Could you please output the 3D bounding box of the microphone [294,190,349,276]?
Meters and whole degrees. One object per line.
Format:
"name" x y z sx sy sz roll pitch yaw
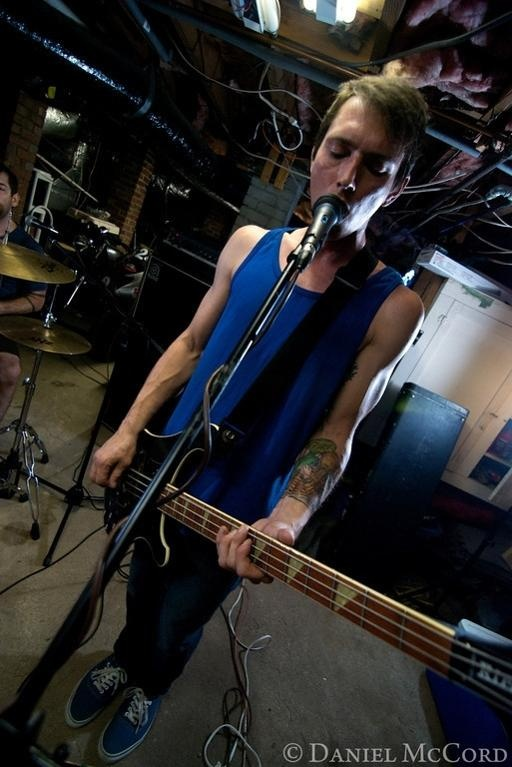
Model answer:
"microphone" 0.174 -0.415 1.568 0.094 0.298 0.088 -2 -45 45
